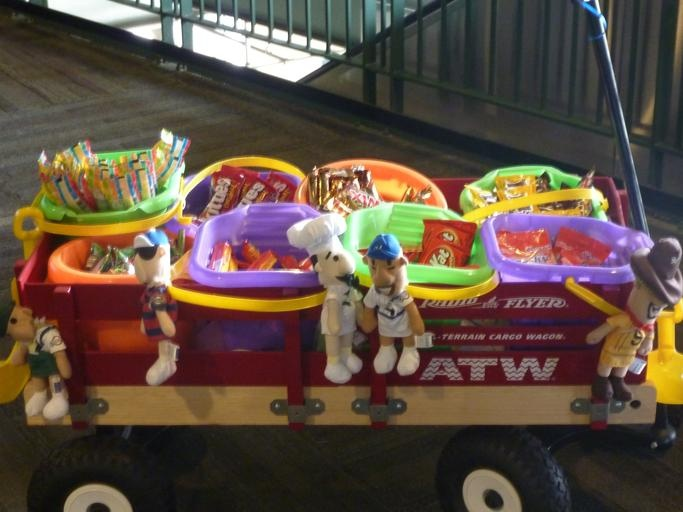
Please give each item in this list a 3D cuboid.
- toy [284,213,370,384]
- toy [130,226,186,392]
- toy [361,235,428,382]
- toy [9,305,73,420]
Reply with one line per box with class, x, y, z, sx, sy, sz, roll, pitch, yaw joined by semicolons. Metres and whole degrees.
toy;-0.049;0.135;2.200;0.225;0.520;0.106;0;5;2
toy;-0.546;0.161;2.254;0.121;0.486;0.155;1;6;6
toy;0.147;0.144;2.158;0.179;0.412;0.095;0;5;1
toy;-0.927;0.333;2.270;0.236;0.365;0.091;2;6;14
